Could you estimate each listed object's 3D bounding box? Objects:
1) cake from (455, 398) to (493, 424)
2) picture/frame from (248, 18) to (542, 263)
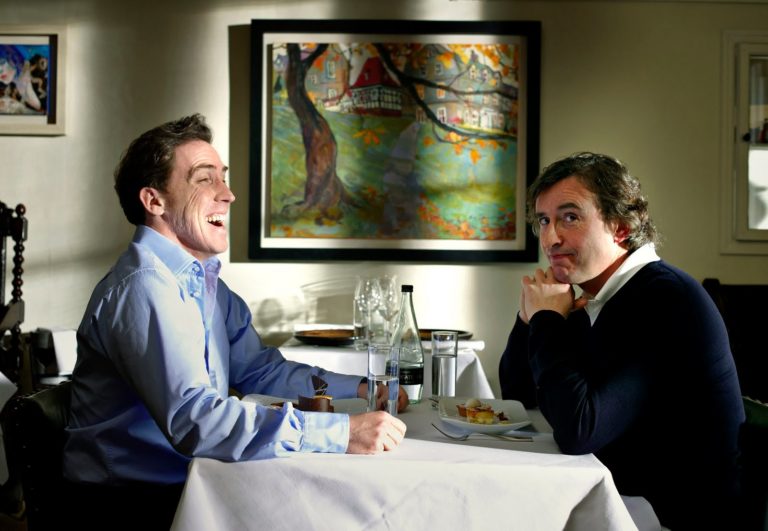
[{"bbox_3d":[0.296,0.464,2.247,0.075,0.033,0.072,0,-1,32],"label":"cake"},{"bbox_3d":[0.094,-0.763,4.067,1.267,1.157,0.062,0,-1,-1],"label":"picture/frame"}]
